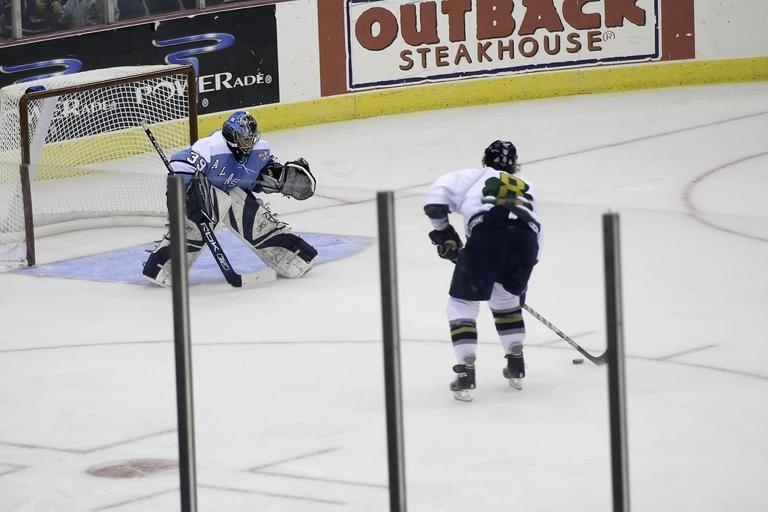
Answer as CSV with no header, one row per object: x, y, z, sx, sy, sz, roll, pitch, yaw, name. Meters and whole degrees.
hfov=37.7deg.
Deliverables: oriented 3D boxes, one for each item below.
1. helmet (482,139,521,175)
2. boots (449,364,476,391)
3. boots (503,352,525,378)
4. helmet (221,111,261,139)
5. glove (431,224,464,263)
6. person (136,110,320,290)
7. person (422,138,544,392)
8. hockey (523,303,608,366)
0.537,-0.447,5.082,0.189,0.152,0.136,-9,24,-26,helmet
0.294,0.445,4.155,0.051,0.092,0.134,2,9,44,boots
0.491,0.400,4.169,0.096,0.087,0.053,2,10,44,boots
-0.841,-0.742,6.508,0.199,0.153,0.158,-18,16,26,helmet
0.235,-0.053,4.122,0.109,0.145,0.059,-44,20,9,glove
-0.767,-0.282,5.429,1.011,0.762,0.759,1,10,-14,person
0.416,0.079,4.411,0.400,0.825,0.729,-5,7,7,person
0.678,0.281,4.084,0.356,0.026,0.101,29,45,6,hockey
